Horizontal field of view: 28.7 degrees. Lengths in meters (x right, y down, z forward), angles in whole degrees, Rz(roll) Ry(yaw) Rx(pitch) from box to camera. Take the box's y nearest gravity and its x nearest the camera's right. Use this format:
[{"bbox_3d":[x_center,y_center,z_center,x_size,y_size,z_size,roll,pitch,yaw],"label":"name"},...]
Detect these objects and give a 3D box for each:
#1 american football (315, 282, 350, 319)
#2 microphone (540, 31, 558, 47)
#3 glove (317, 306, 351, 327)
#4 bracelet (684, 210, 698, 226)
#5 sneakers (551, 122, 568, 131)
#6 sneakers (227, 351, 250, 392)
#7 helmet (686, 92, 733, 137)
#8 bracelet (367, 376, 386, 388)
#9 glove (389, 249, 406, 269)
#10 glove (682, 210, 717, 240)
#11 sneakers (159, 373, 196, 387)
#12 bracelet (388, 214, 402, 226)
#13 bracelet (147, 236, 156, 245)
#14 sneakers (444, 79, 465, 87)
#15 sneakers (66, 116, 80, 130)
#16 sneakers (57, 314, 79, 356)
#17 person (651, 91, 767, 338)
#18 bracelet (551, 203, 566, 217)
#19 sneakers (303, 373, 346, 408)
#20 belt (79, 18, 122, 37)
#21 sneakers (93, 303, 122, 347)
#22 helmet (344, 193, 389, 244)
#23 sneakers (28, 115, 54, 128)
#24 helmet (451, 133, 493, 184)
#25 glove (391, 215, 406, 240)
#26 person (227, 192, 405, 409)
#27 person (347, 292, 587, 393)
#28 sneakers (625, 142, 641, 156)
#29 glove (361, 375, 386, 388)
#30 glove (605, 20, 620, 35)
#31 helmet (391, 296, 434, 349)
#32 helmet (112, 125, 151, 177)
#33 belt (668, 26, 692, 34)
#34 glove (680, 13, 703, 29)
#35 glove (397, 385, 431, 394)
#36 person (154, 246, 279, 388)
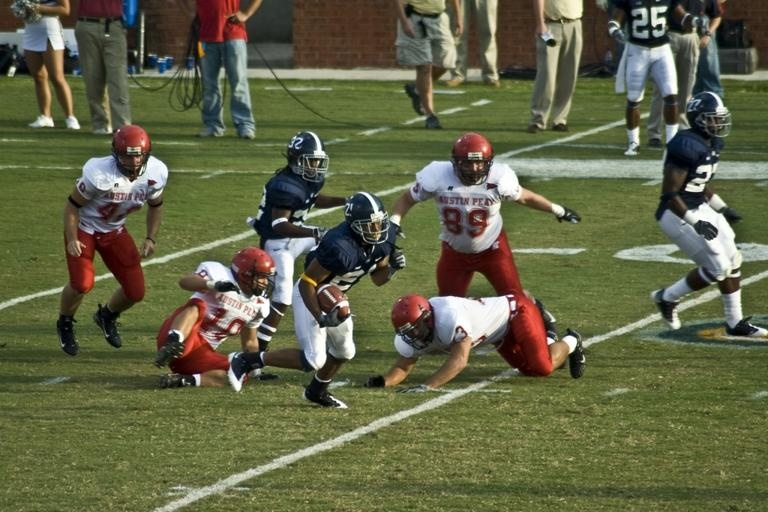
[{"bbox_3d":[-0.371,0.322,10.928,0.319,0.152,0.160,32,8,40],"label":"american football"},{"bbox_3d":[1.881,-2.451,17.049,0.130,0.115,0.183,-15,36,-20],"label":"microphone"},{"bbox_3d":[-0.357,0.441,10.834,0.146,0.081,0.189,-11,11,37],"label":"glove"},{"bbox_3d":[2.427,-0.292,11.820,0.132,0.113,0.093,-7,46,9],"label":"bracelet"},{"bbox_3d":[2.130,-1.527,17.961,0.223,0.076,0.077,3,14,25],"label":"sneakers"},{"bbox_3d":[-1.072,0.860,11.118,0.180,0.289,0.198,-2,11,-5],"label":"sneakers"},{"bbox_3d":[2.596,-1.140,11.958,0.293,0.294,0.425,-19,27,-40],"label":"helmet"},{"bbox_3d":[-0.053,0.930,11.164,0.094,0.054,0.121,-3,1,30],"label":"bracelet"},{"bbox_3d":[0.140,0.029,11.410,0.075,0.154,0.114,-18,60,-31],"label":"glove"},{"bbox_3d":[2.492,-0.238,11.827,0.313,0.153,0.099,32,-1,32],"label":"glove"},{"bbox_3d":[-1.523,0.924,11.187,0.304,0.082,0.116,-10,6,-19],"label":"sneakers"},{"bbox_3d":[0.084,-0.281,11.736,0.085,0.079,0.272,-23,2,5],"label":"bracelet"},{"bbox_3d":[-1.859,-0.124,11.931,0.066,0.024,0.053,30,0,2],"label":"bracelet"},{"bbox_3d":[1.042,-2.561,22.398,0.126,0.110,0.293,32,20,16],"label":"sneakers"},{"bbox_3d":[-3.708,-1.559,17.858,0.131,0.082,0.214,-4,-7,-19],"label":"sneakers"},{"bbox_3d":[-2.470,0.620,11.672,0.122,0.279,0.205,-19,-11,-27],"label":"sneakers"},{"bbox_3d":[2.569,-0.328,11.886,0.793,1.876,0.531,2,12,11],"label":"person"},{"bbox_3d":[1.395,-0.371,12.036,0.063,0.069,0.120,-14,13,-18],"label":"bracelet"},{"bbox_3d":[-0.431,1.005,10.938,0.359,0.183,0.119,24,3,-31],"label":"sneakers"},{"bbox_3d":[-3.217,-2.560,16.815,0.303,0.095,0.284,0,5,22],"label":"belt"},{"bbox_3d":[-2.182,0.552,11.850,0.235,0.311,0.112,-35,0,36],"label":"sneakers"},{"bbox_3d":[-0.121,-0.265,11.189,0.320,0.396,0.224,-1,11,-1],"label":"helmet"},{"bbox_3d":[-4.092,-1.591,17.886,0.339,0.134,0.118,-1,33,-13],"label":"sneakers"},{"bbox_3d":[0.716,-0.700,11.681,0.327,0.297,0.387,-1,-16,1],"label":"helmet"},{"bbox_3d":[0.109,-0.220,11.706,0.136,0.165,0.060,-5,7,-3],"label":"glove"},{"bbox_3d":[-0.501,0.393,11.423,1.239,1.736,1.386,13,17,27],"label":"person"},{"bbox_3d":[0.640,0.650,11.343,1.785,0.528,0.676,1,-5,-22],"label":"person"},{"bbox_3d":[2.768,-1.166,16.584,0.238,0.143,0.361,-1,0,8],"label":"sneakers"},{"bbox_3d":[-0.070,0.935,11.179,0.114,0.063,0.156,0,2,-5],"label":"glove"},{"bbox_3d":[2.484,-2.461,16.266,0.174,0.147,0.166,4,3,18],"label":"glove"},{"bbox_3d":[0.221,0.486,11.137,0.313,0.394,0.250,-1,11,-2],"label":"helmet"},{"bbox_3d":[-1.957,-0.749,11.720,0.282,0.283,0.332,-1,-17,-6],"label":"helmet"},{"bbox_3d":[3.237,-2.445,16.374,0.162,0.032,0.102,5,4,-1],"label":"belt"},{"bbox_3d":[3.330,-2.512,16.177,0.221,0.166,0.428,2,10,14],"label":"glove"},{"bbox_3d":[0.230,0.983,11.109,0.165,0.034,0.085,-7,-1,-15],"label":"glove"},{"bbox_3d":[-1.260,0.511,11.457,0.565,0.822,0.796,9,-28,40],"label":"person"}]
